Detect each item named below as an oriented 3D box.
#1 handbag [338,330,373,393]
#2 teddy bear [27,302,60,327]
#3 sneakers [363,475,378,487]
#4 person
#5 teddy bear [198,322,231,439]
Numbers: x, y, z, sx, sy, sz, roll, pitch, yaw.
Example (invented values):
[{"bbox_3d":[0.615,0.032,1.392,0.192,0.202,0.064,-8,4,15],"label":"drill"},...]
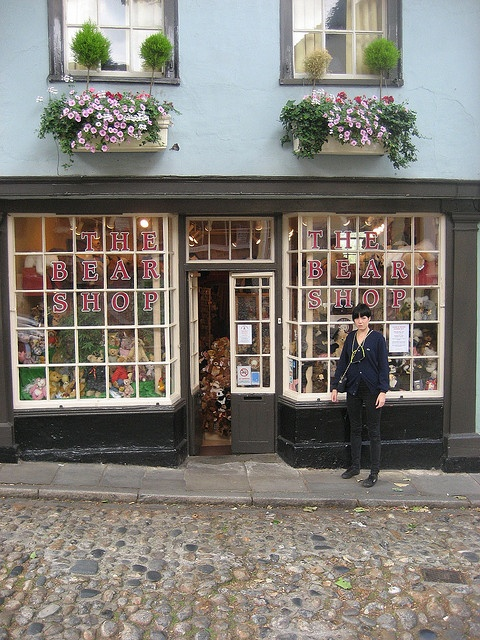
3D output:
[{"bbox_3d":[1.112,0.418,6.250,0.056,0.651,0.250,9,16,-47],"label":"handbag"},{"bbox_3d":[-2.053,-0.067,6.584,0.186,0.252,0.098,1,8,-3],"label":"teddy bear"},{"bbox_3d":[1.246,1.556,6.109,0.067,0.073,0.181,-5,-5,24],"label":"sneakers"},{"bbox_3d":[1.186,0.714,6.264,0.293,1.741,0.590,-2,7,-38],"label":"person"},{"bbox_3d":[-0.330,0.866,8.186,0.407,1.253,0.294,1,5,-3],"label":"teddy bear"}]
